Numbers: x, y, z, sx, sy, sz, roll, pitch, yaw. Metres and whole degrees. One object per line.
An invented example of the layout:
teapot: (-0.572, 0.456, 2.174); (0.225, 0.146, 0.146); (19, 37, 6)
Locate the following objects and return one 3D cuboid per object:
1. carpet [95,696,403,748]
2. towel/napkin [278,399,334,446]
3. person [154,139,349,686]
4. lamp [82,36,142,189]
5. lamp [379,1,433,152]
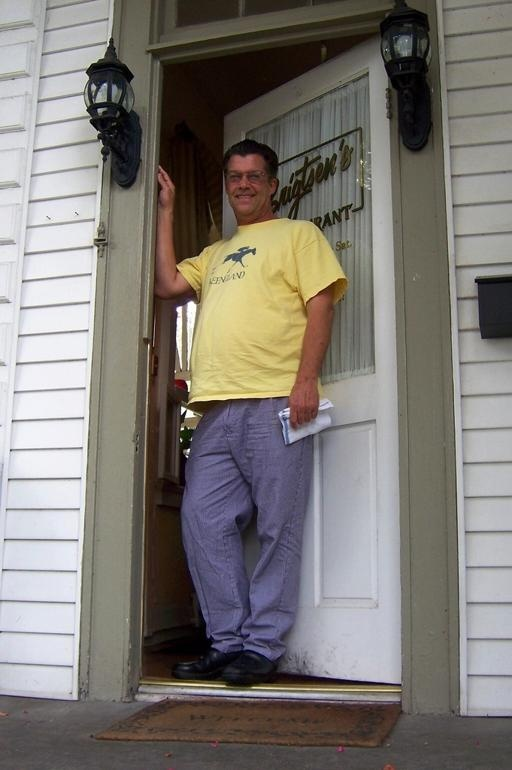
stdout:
carpet: (0.011, 0.775, 1.796); (0.631, 0.031, 0.480); (-4, -11, 11)
towel/napkin: (0.150, 0.117, 2.293); (0.148, 0.138, 0.301); (-3, -11, 7)
person: (-0.049, 0.015, 2.329); (0.633, 1.649, 0.363); (-11, -14, 43)
lamp: (-0.451, -0.863, 2.427); (0.141, 0.435, 0.232); (-2, -10, 4)
lamp: (0.428, -0.877, 2.185); (0.136, 0.404, 0.175); (-4, -10, 14)
